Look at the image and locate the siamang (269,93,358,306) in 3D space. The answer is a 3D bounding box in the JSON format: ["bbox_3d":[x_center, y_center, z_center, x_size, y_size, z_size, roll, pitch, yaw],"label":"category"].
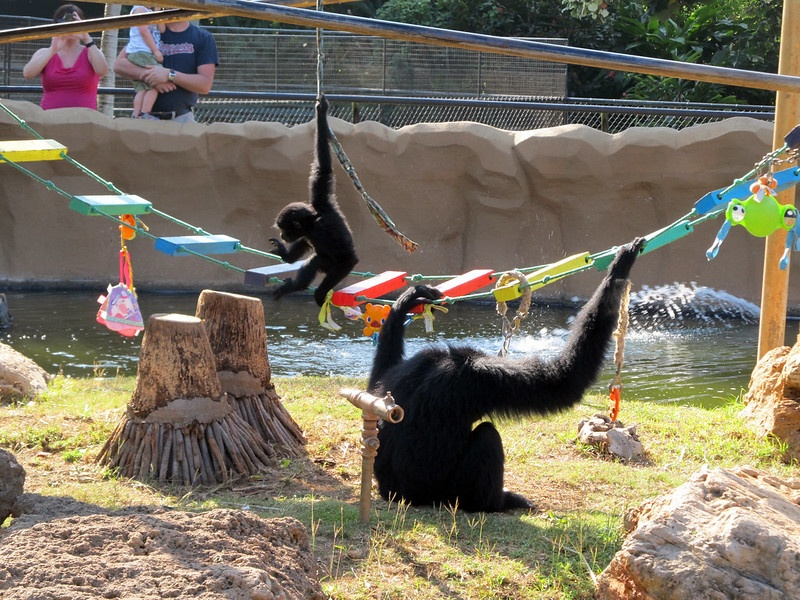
[{"bbox_3d":[-0.974,-1.147,18.439,0.970,2.458,0.283,3,8,-4],"label":"siamang"}]

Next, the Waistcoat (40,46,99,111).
[{"bbox_3d":[-5.467,-3.589,25.596,0.968,1.095,0.657,-2,-5,1],"label":"Waistcoat"}]
